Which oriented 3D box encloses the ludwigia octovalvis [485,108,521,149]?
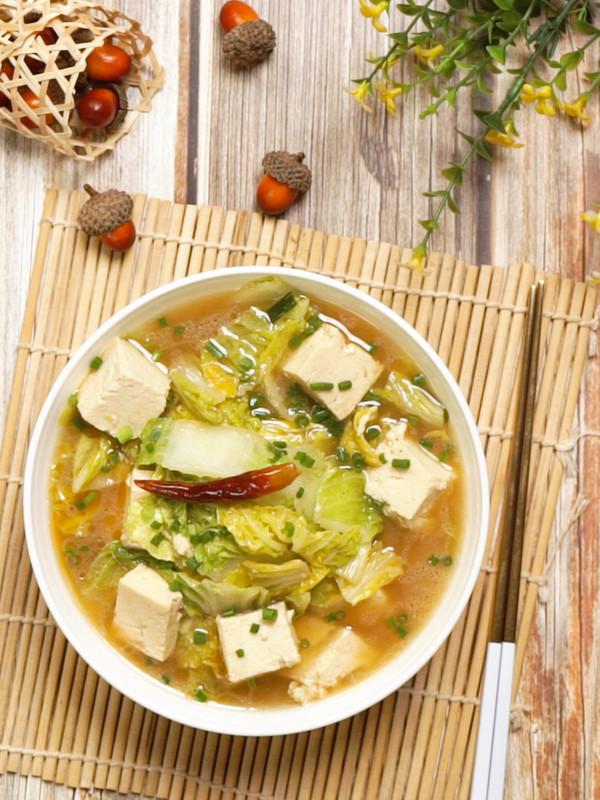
[{"bbox_3d":[0.735,-0.951,2.864,0.147,0.076,0.162,16,54,16],"label":"ludwigia octovalvis"}]

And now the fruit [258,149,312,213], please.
[{"bbox_3d":[-0.060,-0.806,2.952,0.214,0.160,0.241,-5,83,-2],"label":"fruit"}]

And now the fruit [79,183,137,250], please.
[{"bbox_3d":[-0.695,-0.651,2.871,0.196,0.132,0.206,8,83,-1],"label":"fruit"}]

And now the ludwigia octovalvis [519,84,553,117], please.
[{"bbox_3d":[0.858,-1.072,2.872,0.140,0.067,0.149,26,42,-2],"label":"ludwigia octovalvis"}]
